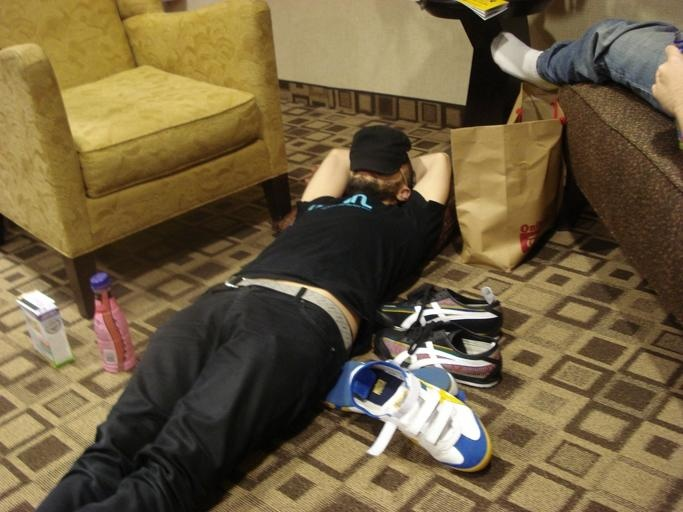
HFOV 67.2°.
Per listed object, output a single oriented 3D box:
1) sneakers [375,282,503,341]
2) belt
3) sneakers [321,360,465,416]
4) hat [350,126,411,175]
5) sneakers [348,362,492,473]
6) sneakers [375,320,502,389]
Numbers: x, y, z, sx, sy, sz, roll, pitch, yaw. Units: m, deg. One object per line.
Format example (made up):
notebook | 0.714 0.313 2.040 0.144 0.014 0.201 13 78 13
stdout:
sneakers | 0.276 0.139 1.460 0.402 0.138 0.135 5 9 12
belt | -0.132 0.151 1.344 0.275 0.062 0.195 14 24 14
sneakers | 0.107 0.292 1.242 0.425 0.153 0.116 2 72 21
hat | 0.117 -0.340 1.635 0.163 0.089 0.196 8 19 16
sneakers | 0.189 0.351 1.201 0.358 0.147 0.186 23 77 27
sneakers | 0.263 0.248 1.324 0.356 0.109 0.135 12 33 12
